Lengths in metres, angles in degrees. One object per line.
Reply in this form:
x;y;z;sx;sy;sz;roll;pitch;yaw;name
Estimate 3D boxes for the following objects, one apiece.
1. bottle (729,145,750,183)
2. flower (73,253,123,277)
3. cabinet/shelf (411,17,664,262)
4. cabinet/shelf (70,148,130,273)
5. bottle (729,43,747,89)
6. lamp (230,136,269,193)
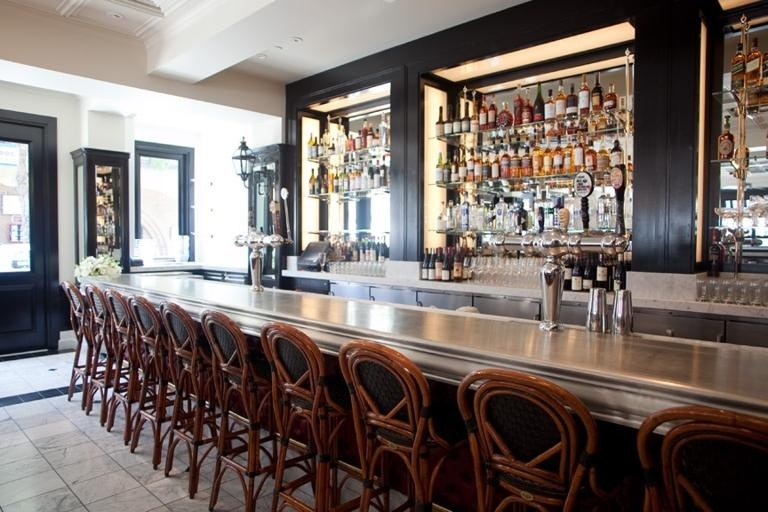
3.141;-0.815;4.782;0.158;0.362;0.143;4;4;2;bottle
-3.393;0.147;6.471;0.398;0.266;0.400;4;-6;-25;flower
1.620;-1.246;5.578;2.559;2.456;0.865;0;-1;34;cabinet/shelf
-4.134;-0.650;7.977;0.823;1.817;0.405;-4;4;-23;cabinet/shelf
3.065;-1.635;4.687;0.103;0.424;0.278;0;5;32;bottle
-2.015;-1.394;8.256;0.496;0.932;1.367;-3;4;-13;lamp
